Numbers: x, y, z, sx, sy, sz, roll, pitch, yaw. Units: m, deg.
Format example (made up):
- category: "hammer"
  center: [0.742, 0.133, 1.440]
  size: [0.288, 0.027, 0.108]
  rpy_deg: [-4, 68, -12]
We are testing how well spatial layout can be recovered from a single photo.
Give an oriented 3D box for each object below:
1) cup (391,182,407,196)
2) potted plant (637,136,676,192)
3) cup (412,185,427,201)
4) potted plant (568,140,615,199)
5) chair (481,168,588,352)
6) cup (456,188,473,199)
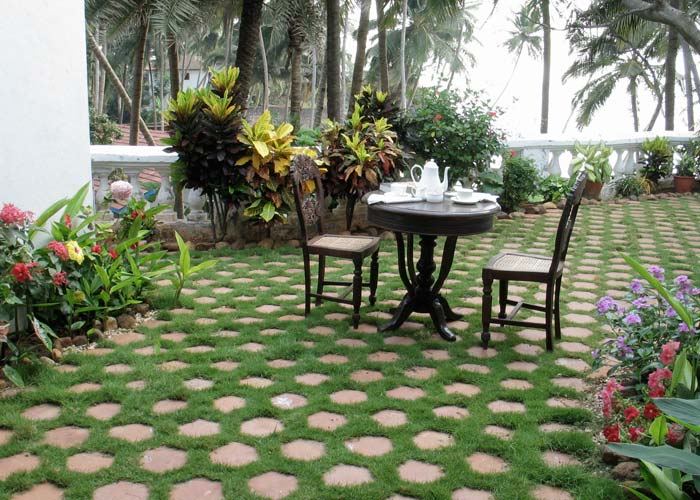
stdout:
- category: "cup"
  center: [0.446, -0.560, 4.646]
  size: [0.138, 0.105, 0.129]
  rpy_deg: [-1, 16, 0]
- category: "potted plant"
  center: [6.174, -1.840, 10.508]
  size: [0.628, 0.868, 0.610]
  rpy_deg: [9, 6, 33]
- category: "cup"
  center: [0.608, -0.506, 4.573]
  size: [0.098, 0.137, 0.143]
  rpy_deg: [0, 4, 20]
- category: "potted plant"
  center: [4.557, -1.522, 9.700]
  size: [0.792, 1.119, 1.066]
  rpy_deg: [4, 0, 25]
- category: "chair"
  center: [1.528, 0.041, 4.335]
  size: [0.698, 1.412, 1.093]
  rpy_deg: [6, 13, 23]
- category: "cup"
  center: [0.981, -0.489, 4.435]
  size: [0.095, 0.059, 0.094]
  rpy_deg: [-1, 6, 0]
